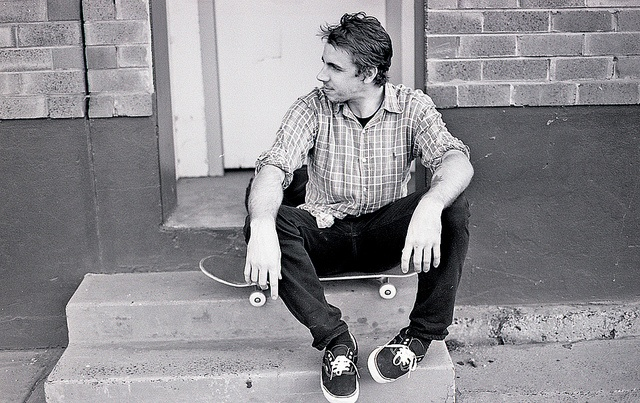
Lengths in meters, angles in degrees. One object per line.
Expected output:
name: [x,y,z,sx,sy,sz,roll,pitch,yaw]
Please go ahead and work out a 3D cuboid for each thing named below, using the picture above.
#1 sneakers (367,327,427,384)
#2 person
sneakers: [0.503,0.965,5.156,0.422,0.220,0.165,-28,0,-25]
person: [0.265,-0.002,5.240,1.369,2.394,0.768,2,9,9]
